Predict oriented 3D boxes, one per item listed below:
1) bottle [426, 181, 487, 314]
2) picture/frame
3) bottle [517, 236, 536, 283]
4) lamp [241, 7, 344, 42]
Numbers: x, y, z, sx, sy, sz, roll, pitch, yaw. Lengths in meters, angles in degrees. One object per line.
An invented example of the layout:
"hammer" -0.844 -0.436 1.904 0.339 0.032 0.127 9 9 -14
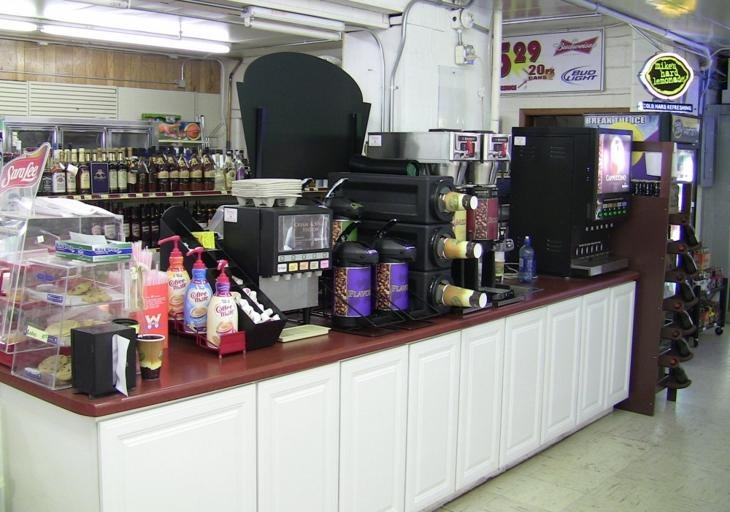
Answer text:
"bottle" 0.548 -0.019 3.191 0.293 0.710 0.315 2 11 0
"picture/frame" 2.574 -2.640 7.600 1.462 0.749 0.100 7 11 41
"bottle" 1.212 0.019 4.225 0.118 0.309 0.217 3 11 7
"lamp" -0.532 -1.610 3.929 0.745 0.107 0.352 -8 15 -43
